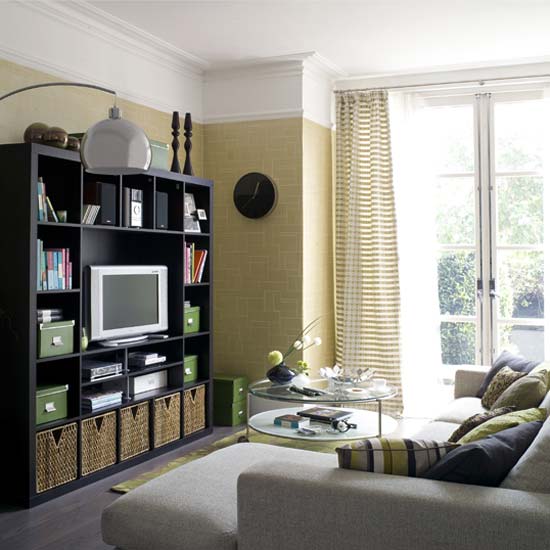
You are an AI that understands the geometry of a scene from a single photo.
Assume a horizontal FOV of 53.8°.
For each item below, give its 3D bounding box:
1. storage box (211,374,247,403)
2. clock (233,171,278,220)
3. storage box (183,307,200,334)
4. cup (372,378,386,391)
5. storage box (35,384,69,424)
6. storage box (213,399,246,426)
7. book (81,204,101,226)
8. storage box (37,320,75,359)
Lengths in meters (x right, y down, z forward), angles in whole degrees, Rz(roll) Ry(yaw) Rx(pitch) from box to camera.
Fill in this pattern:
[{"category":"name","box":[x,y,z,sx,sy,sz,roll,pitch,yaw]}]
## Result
[{"category":"storage box","box":[-0.378,0.969,4.641,0.217,0.137,0.216,-1,1,-34]},{"category":"clock","box":[-0.156,-0.705,4.787,0.406,0.427,0.064,4,3,22]},{"category":"storage box","box":[-0.658,0.351,4.203,0.111,0.185,0.212,-1,-1,21]},{"category":"cup","box":[0.701,0.728,3.594,0.076,0.053,0.061,-2,-3,15]},{"category":"storage box","box":[-1.255,0.721,3.021,0.164,0.129,0.168,0,0,33]},{"category":"storage box","box":[-0.401,1.163,4.639,0.213,0.136,0.221,-1,-1,18]},{"category":"book","box":[-1.125,-0.366,3.281,0.083,0.116,0.039,4,-5,32]},{"category":"storage box","box":[-1.227,0.349,3.017,0.146,0.176,0.250,0,0,21]}]
